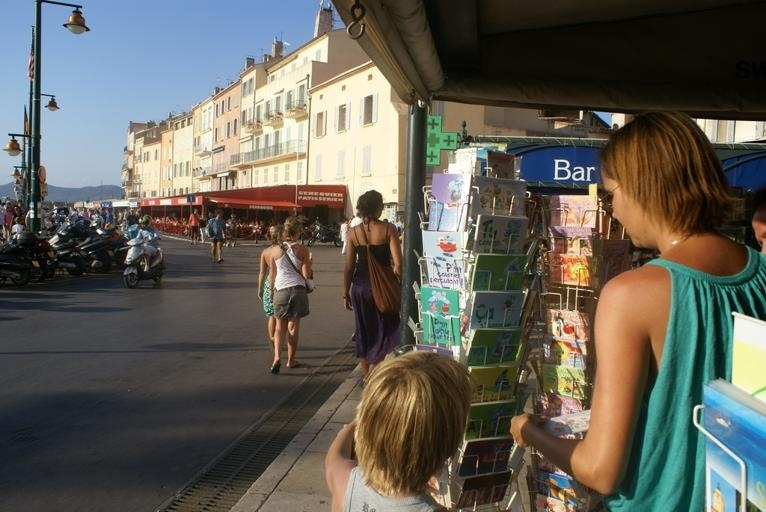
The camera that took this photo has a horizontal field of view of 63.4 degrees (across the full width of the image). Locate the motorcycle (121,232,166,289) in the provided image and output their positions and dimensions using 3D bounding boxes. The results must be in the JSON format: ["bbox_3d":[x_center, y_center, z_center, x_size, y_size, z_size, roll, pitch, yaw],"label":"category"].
[{"bbox_3d":[-5.762,-0.127,14.896,0.601,1.231,1.790,3,23,3],"label":"motorcycle"}]

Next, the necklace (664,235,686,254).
[{"bbox_3d":[1.146,-0.048,2.456,0.079,0.030,0.063,-47,-6,40],"label":"necklace"}]

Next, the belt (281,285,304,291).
[{"bbox_3d":[-1.089,0.384,7.649,0.288,0.059,0.056,-1,6,-21],"label":"belt"}]

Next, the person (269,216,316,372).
[{"bbox_3d":[-1.136,0.477,7.821,0.537,1.918,0.481,0,5,-11],"label":"person"}]

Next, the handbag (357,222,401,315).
[{"bbox_3d":[-0.027,0.136,6.651,0.446,0.964,0.257,1,5,-5],"label":"handbag"}]

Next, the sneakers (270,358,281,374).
[{"bbox_3d":[-1.299,1.365,7.673,0.088,0.193,0.084,11,32,-16],"label":"sneakers"}]

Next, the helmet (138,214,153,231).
[{"bbox_3d":[-5.790,-0.835,15.119,0.270,0.359,0.345,6,-6,-1],"label":"helmet"}]

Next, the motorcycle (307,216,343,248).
[{"bbox_3d":[-3.375,-1.266,35.039,2.605,1.586,1.311,3,4,-25],"label":"motorcycle"}]

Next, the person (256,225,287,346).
[{"bbox_3d":[-1.384,0.448,8.251,0.523,1.770,0.463,3,15,-6],"label":"person"}]
